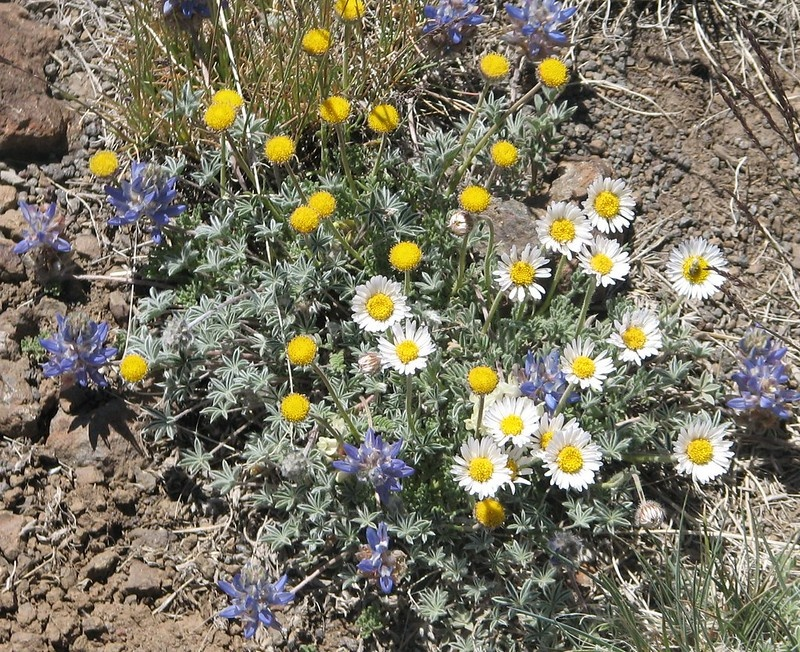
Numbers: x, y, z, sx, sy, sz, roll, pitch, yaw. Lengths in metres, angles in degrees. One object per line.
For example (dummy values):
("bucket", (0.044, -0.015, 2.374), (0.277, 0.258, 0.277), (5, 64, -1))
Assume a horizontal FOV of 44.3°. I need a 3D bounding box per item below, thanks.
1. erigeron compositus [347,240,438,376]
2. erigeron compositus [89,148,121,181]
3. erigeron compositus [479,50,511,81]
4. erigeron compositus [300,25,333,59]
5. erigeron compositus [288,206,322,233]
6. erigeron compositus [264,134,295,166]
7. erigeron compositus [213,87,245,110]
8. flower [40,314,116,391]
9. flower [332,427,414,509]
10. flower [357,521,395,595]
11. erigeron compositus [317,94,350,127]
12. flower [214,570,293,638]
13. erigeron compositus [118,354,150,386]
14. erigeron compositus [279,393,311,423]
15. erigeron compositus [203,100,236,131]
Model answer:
("erigeron compositus", (-0.046, -0.009, 5.248), (0.416, 0.174, 0.710), (-20, 62, 12))
("erigeron compositus", (-1.761, -0.955, 5.828), (0.147, 0.143, 0.186), (-36, 68, -24))
("erigeron compositus", (0.540, -1.470, 5.679), (0.152, 0.149, 0.131), (1, 57, -5))
("erigeron compositus", (-0.490, -1.656, 5.779), (0.147, 0.217, 0.191), (5, 57, -2))
("erigeron compositus", (-0.527, -0.573, 5.428), (0.135, 0.083, 0.153), (-29, 80, -14))
("erigeron compositus", (-0.699, -1.030, 5.624), (0.165, 0.105, 0.204), (-12, 82, -8))
("erigeron compositus", (-1.017, -1.337, 5.855), (0.157, 0.149, 0.107), (16, 98, -32))
("flower", (-1.900, 0.147, 5.818), (0.388, 0.392, 0.417), (-13, 39, -17))
("flower", (-0.146, 0.796, 5.338), (0.421, 0.551, 0.269), (8, 56, 0))
("flower", (-0.111, 1.231, 5.277), (0.197, 0.471, 0.310), (-33, 81, 1))
("erigeron compositus", (-0.376, -1.224, 5.625), (0.137, 0.087, 0.165), (1, 96, -2))
("flower", (-0.789, 1.532, 5.306), (0.388, 0.425, 0.298), (10, 56, 1))
("erigeron compositus", (-1.500, 0.267, 5.560), (0.138, 0.106, 0.189), (-5, 78, -7))
("erigeron compositus", (-0.545, 0.433, 5.129), (0.144, 0.130, 0.143), (38, 62, 17))
("erigeron compositus", (-1.035, -1.195, 5.666), (0.160, 0.121, 0.149), (7, 58, -1))
